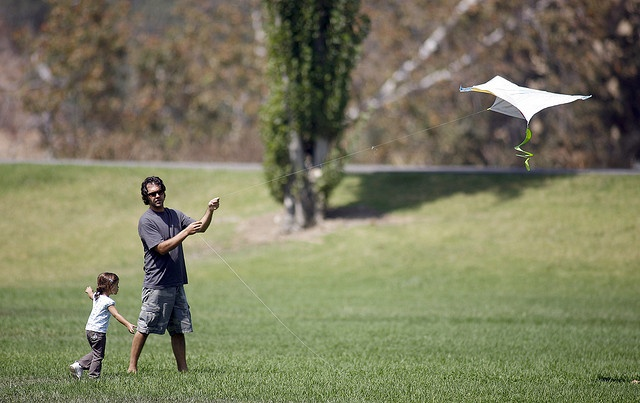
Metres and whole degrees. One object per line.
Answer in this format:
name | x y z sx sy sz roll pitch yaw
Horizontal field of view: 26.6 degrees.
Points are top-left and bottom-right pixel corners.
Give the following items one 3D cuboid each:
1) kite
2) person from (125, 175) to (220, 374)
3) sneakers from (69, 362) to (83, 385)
kite | 3.653 -1.222 24.288 2.160 1.292 1.972 2 -12 9
person | -2.722 1.360 24.092 1.407 3.470 0.721 -1 14 -7
sneakers | -4.283 3.049 24.031 0.204 0.337 0.143 -25 21 -14
